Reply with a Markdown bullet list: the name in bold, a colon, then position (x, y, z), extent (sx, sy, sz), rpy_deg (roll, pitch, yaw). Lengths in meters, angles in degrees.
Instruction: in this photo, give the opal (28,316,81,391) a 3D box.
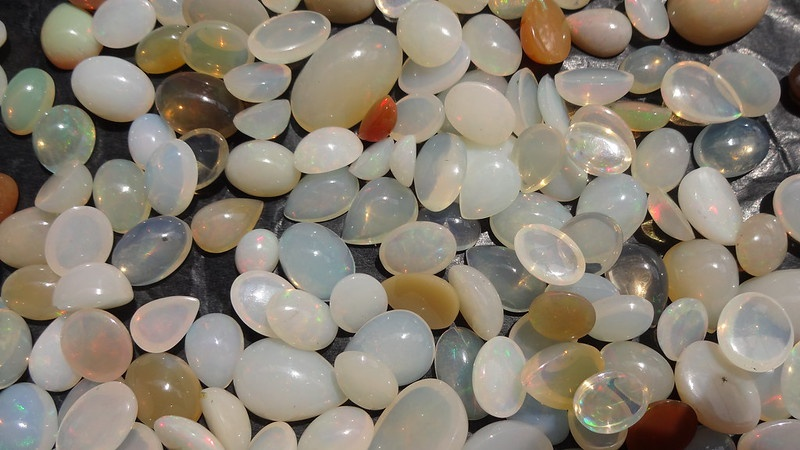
- **opal**: position (-0.930, 0.351, 1.906), extent (0.123, 0.095, 0.185), rpy_deg (10, 85, -6)
